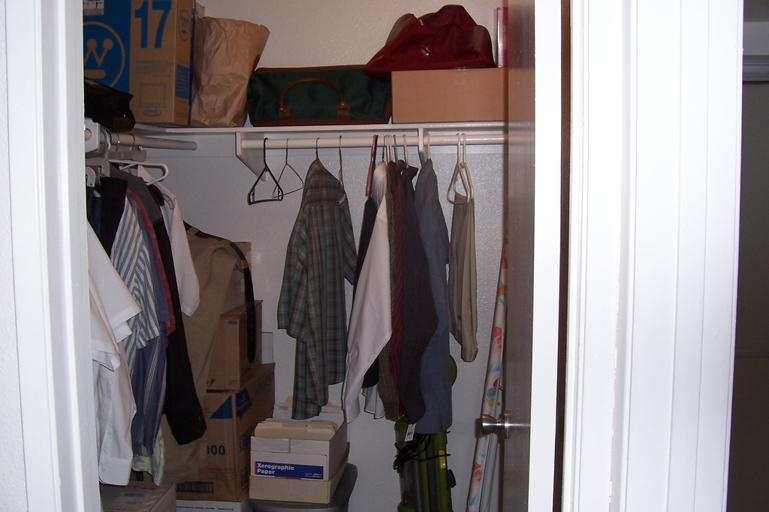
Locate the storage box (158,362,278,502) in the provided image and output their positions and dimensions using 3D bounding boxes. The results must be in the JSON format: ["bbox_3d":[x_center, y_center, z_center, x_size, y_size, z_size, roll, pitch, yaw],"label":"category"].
[{"bbox_3d":[-0.558,0.515,2.658,0.315,0.414,0.579,1,10,11],"label":"storage box"}]

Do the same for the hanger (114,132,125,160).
[{"bbox_3d":[-0.834,-0.349,2.331,0.029,0.043,0.113,7,-34,-9],"label":"hanger"}]

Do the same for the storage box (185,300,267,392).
[{"bbox_3d":[-0.548,0.345,2.601,0.200,0.289,0.392,-2,0,5],"label":"storage box"}]

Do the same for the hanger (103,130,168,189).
[{"bbox_3d":[-0.801,-0.321,2.388,0.106,0.146,0.346,4,2,38],"label":"hanger"}]

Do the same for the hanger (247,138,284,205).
[{"bbox_3d":[-0.461,-0.302,2.829,0.150,0.213,0.224,-1,3,-5],"label":"hanger"}]

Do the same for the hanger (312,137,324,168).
[{"bbox_3d":[-0.245,-0.381,2.679,0.021,0.091,0.067,-2,11,-2],"label":"hanger"}]

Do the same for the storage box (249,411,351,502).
[{"bbox_3d":[-0.307,0.706,2.637,0.327,0.262,0.277,-1,3,1],"label":"storage box"}]
